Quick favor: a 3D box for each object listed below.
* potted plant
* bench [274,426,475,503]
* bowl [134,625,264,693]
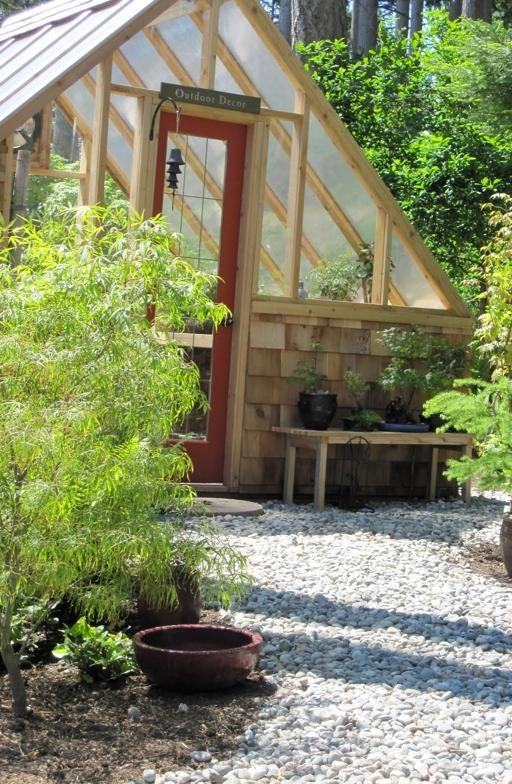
[{"bbox_3d":[0.973,-0.106,6.086,1.130,0.713,0.919,0,2,-20],"label":"potted plant"},{"bbox_3d":[0.870,0.557,5.935,1.535,0.570,0.585,6,3,-30],"label":"bench"},{"bbox_3d":[-0.181,0.787,2.282,0.390,0.132,0.374,3,-5,0],"label":"bowl"}]
